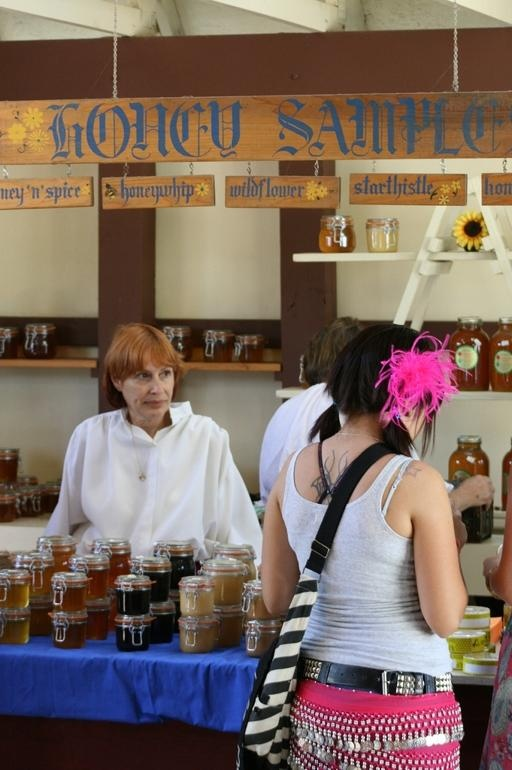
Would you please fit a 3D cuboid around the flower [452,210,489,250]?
[{"bbox_3d":[0.788,-0.565,2.728,0.081,0.146,0.162,-1,1,-17],"label":"flower"}]

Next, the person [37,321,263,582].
[{"bbox_3d":[-0.334,0.206,2.691,1.083,0.995,0.401,2,-12,-20],"label":"person"}]

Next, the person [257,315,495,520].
[{"bbox_3d":[0.438,0.082,2.376,0.813,0.716,0.527,-8,10,-24],"label":"person"}]

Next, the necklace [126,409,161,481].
[{"bbox_3d":[-0.359,0.204,2.384,0.121,0.196,0.107,-3,-10,-6],"label":"necklace"}]
